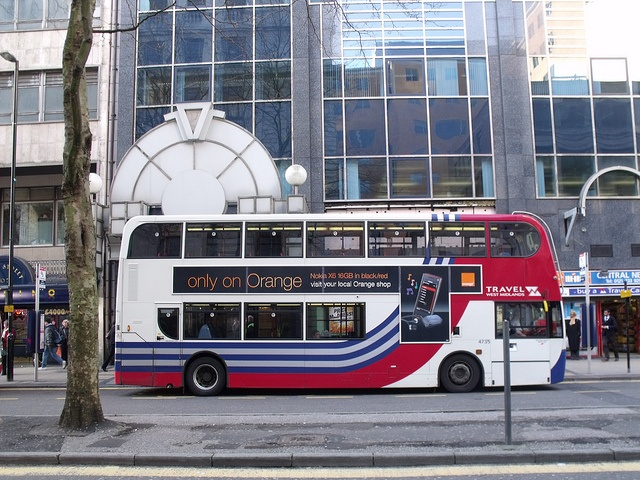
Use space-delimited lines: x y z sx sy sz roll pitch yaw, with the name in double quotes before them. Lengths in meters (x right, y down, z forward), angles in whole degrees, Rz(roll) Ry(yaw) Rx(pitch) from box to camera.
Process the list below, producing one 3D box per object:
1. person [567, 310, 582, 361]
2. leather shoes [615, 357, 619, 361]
"person" 9.852 3.777 38.216 0.494 1.955 0.558 1 8 12
"leather shoes" 11.514 4.664 37.978 0.101 0.184 0.168 0 -3 17
